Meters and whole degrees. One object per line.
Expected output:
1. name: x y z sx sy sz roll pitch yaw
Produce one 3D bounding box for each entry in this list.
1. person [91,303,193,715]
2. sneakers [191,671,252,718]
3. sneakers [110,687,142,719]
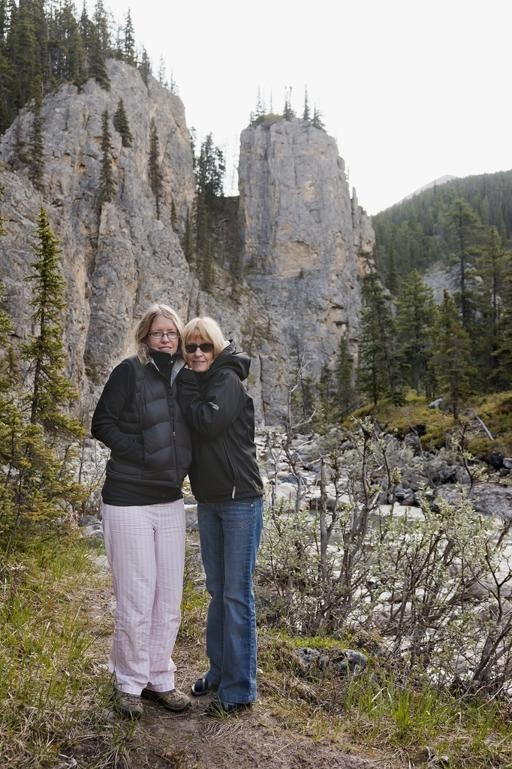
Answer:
1. person: -0.747 0.814 4.932 0.466 2.787 0.670 -2 -3 44
2. sneakers: -0.241 2.149 4.937 0.471 0.211 0.153 -2 7 3
3. sneakers: -0.828 2.042 4.585 0.198 0.181 0.150 0 -2 -4
